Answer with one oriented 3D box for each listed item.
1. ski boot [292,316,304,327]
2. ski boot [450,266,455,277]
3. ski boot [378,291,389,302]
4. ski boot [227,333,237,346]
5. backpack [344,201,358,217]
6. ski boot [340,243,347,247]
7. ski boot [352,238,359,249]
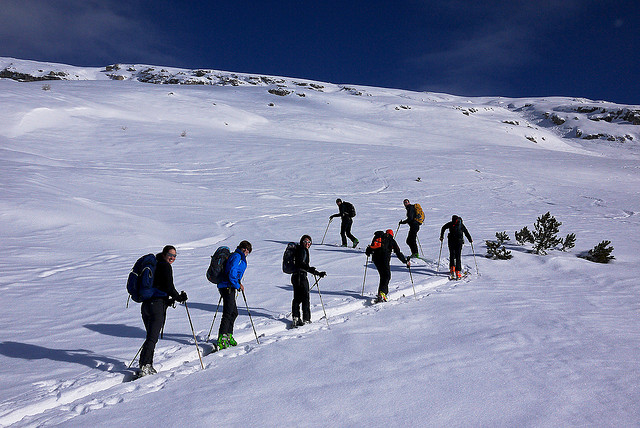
[{"bbox_3d":[-0.825,4.414,25.178,0.476,0.348,0.289,4,14,0],"label":"ski boot"},{"bbox_3d":[6.102,2.603,27.860,0.159,0.448,0.238,2,15,-11],"label":"ski boot"},{"bbox_3d":[2.778,3.515,26.253,0.428,0.138,0.431,14,34,-50],"label":"ski boot"},{"bbox_3d":[-3.469,4.985,24.306,0.647,0.247,0.229,34,61,19],"label":"ski boot"},{"bbox_3d":[1.599,-0.190,31.182,0.578,0.720,0.396,1,15,-13],"label":"backpack"},{"bbox_3d":[1.303,1.574,31.641,0.376,0.184,0.225,2,13,-6],"label":"ski boot"},{"bbox_3d":[1.879,1.488,31.358,0.231,0.482,0.380,7,14,4],"label":"ski boot"}]
